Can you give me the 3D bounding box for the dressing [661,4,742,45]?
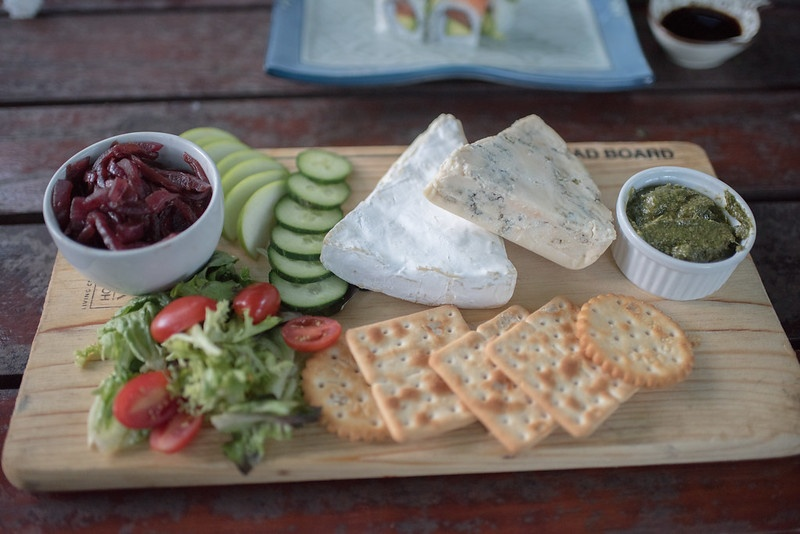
[{"bbox_3d":[2.005,-1.619,4.678,0.421,0.047,0.290,29,68,26],"label":"dressing"}]
